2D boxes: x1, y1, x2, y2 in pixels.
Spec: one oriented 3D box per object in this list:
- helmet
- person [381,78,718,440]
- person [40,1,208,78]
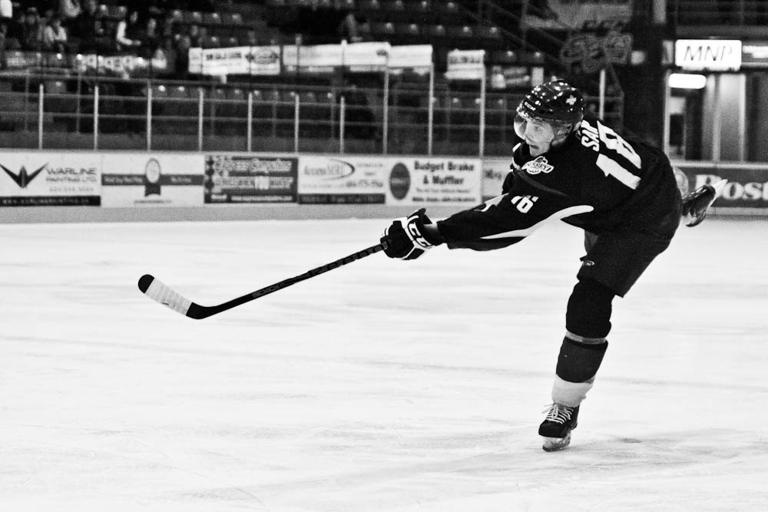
[{"bbox_3d":[1.030,-0.891,8.885,0.486,0.385,0.350,2,13,0],"label":"helmet"},{"bbox_3d":[1.047,0.057,9.044,1.598,2.334,0.534,4,7,9],"label":"person"},{"bbox_3d":[-3.132,-2.701,17.590,1.408,0.259,1.133,3,32,-6],"label":"person"}]
